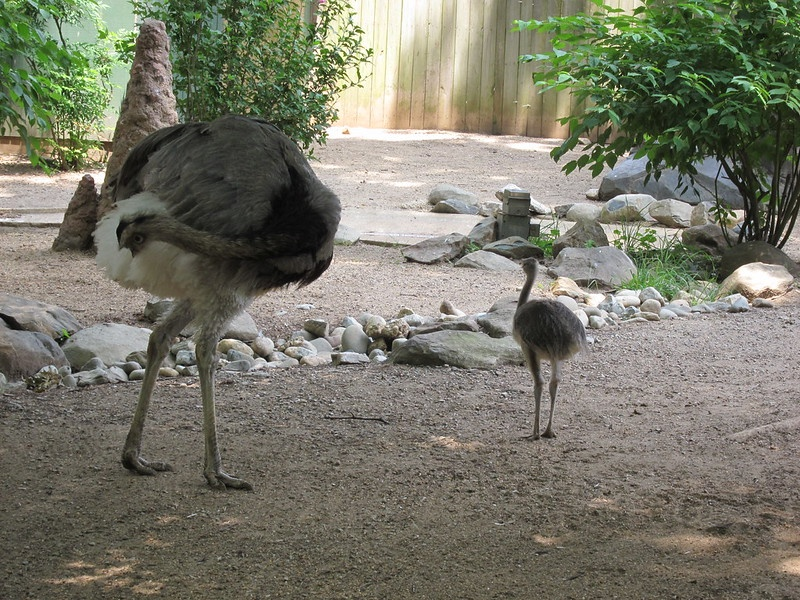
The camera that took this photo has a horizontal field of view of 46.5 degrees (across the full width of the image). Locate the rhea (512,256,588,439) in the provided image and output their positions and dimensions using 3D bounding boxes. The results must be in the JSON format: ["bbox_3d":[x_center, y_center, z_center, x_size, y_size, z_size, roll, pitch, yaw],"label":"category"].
[{"bbox_3d":[0.956,0.411,6.057,0.471,0.834,0.696,4,10,7],"label":"rhea"}]

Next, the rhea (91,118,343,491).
[{"bbox_3d":[-1.053,-0.007,5.330,1.382,2.075,0.621,1,10,-4],"label":"rhea"}]
